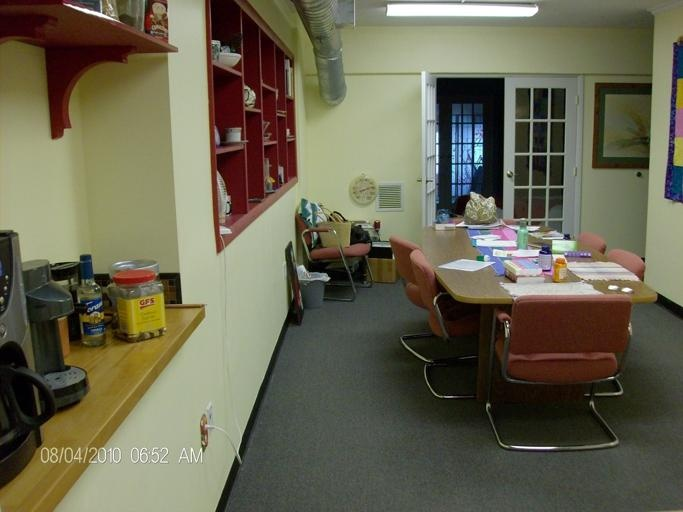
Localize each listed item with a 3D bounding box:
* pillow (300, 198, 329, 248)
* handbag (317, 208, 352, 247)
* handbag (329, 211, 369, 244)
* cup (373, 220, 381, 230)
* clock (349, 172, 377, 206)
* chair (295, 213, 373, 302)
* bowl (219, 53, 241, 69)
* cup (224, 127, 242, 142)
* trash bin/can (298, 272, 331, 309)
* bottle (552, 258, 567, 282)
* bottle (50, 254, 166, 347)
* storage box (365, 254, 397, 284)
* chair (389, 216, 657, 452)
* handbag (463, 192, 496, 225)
[{"bbox_3d":[-0.303,-0.383,5.803,0.170,0.473,0.434,-12,16,20],"label":"pillow"},{"bbox_3d":[0.001,-0.309,5.806,0.344,0.467,0.417,2,-13,10],"label":"handbag"},{"bbox_3d":[0.087,-0.259,6.304,0.501,0.544,0.401,1,-12,8],"label":"handbag"},{"bbox_3d":[0.444,-0.396,6.549,0.104,0.171,0.104,-1,6,0],"label":"cup"},{"bbox_3d":[0.278,-0.844,6.652,0.328,0.389,0.032,1,-23,4],"label":"clock"},{"bbox_3d":[-0.128,-0.036,5.964,0.888,1.277,0.853,1,8,16],"label":"chair"},{"bbox_3d":[-0.682,-1.223,3.287,0.099,0.093,0.211,1,14,8],"label":"bowl"},{"bbox_3d":[-0.690,-0.779,3.378,0.099,0.093,0.092,-1,14,0],"label":"cup"},{"bbox_3d":[-0.276,0.342,5.439,0.277,0.334,0.274,-2,14,-1],"label":"trash bin/can"},{"bbox_3d":[1.354,0.088,3.279,0.065,0.185,0.129,5,7,43],"label":"bottle"},{"bbox_3d":[-0.828,0.132,1.930,0.338,0.377,0.217,-6,13,-21],"label":"bottle"},{"bbox_3d":[0.489,0.138,6.241,0.289,0.300,0.310,-1,4,5],"label":"storage box"},{"bbox_3d":[1.045,0.505,3.393,0.929,0.931,1.493,-8,15,-25],"label":"chair"},{"bbox_3d":[1.407,-0.488,5.138,0.275,0.308,0.293,-10,14,-17],"label":"handbag"}]
